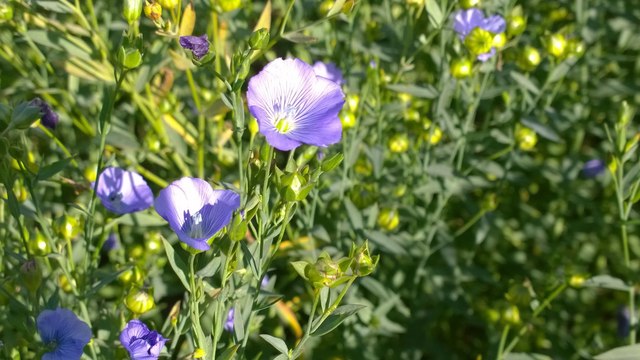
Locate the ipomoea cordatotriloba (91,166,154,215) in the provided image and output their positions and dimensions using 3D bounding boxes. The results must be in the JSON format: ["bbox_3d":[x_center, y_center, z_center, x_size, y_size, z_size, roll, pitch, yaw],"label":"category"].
[{"bbox_3d":[-0.799,0.044,2.744,0.196,0.097,0.224,31,59,-19],"label":"ipomoea cordatotriloba"}]

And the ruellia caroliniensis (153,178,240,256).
[{"bbox_3d":[-0.461,0.133,2.507,0.305,0.178,0.226,14,30,-4],"label":"ruellia caroliniensis"}]

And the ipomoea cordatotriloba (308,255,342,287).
[{"bbox_3d":[0.011,0.335,2.477,0.100,0.108,0.069,1,11,8],"label":"ipomoea cordatotriloba"}]

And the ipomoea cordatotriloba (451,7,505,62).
[{"bbox_3d":[0.692,-0.662,2.945,0.227,0.131,0.166,10,30,-11],"label":"ipomoea cordatotriloba"}]

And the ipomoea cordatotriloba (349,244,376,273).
[{"bbox_3d":[0.157,0.304,2.553,0.096,0.070,0.095,-23,80,-5],"label":"ipomoea cordatotriloba"}]

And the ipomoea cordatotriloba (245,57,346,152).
[{"bbox_3d":[-0.118,-0.266,2.600,0.337,0.167,0.365,21,65,-12],"label":"ipomoea cordatotriloba"}]
